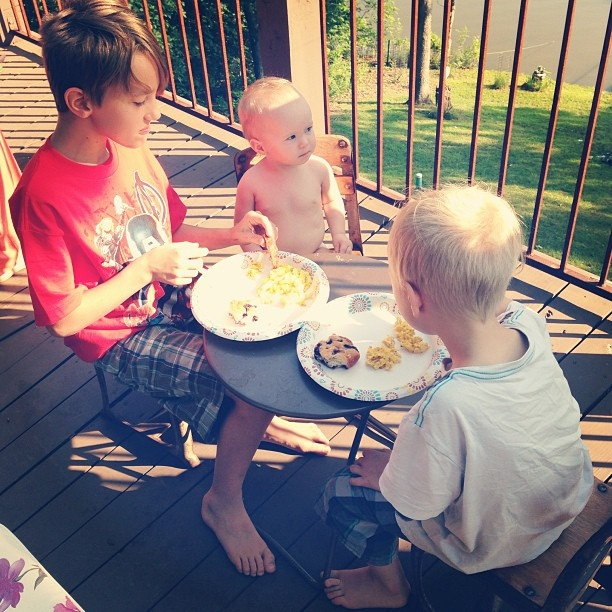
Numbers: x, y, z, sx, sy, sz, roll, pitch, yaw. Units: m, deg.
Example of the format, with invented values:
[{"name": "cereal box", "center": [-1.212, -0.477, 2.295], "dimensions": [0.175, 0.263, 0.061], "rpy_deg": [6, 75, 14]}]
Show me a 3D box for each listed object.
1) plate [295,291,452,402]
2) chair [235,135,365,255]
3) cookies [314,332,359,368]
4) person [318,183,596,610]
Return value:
[{"name": "plate", "center": [0.168, 0.118, 1.480], "dimensions": [0.358, 0.037, 0.320], "rpy_deg": [-16, 44, -12]}, {"name": "chair", "center": [-0.034, -0.408, 2.112], "dimensions": [0.402, 0.627, 0.438], "rpy_deg": [-8, 46, 2]}, {"name": "cookies", "center": [0.082, 0.111, 1.444], "dimensions": [0.093, 0.028, 0.079], "rpy_deg": [9, 39, 11]}, {"name": "person", "center": [0.354, 0.361, 1.325], "dimensions": [0.480, 1.198, 0.499], "rpy_deg": [-26, 40, -31]}]
